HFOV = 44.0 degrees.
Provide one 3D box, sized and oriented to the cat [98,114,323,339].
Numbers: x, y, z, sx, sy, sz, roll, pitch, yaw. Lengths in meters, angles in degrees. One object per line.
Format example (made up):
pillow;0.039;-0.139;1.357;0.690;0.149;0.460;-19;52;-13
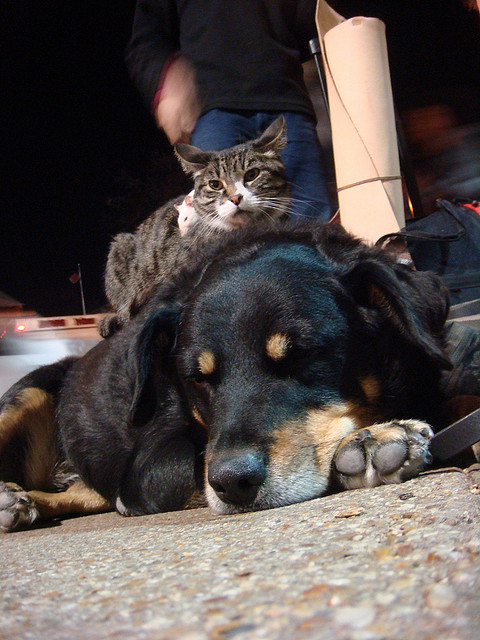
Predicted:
cat;-0.385;-0.536;3.944;1.923;1.051;0.875;-24;-6;40

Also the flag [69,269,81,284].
flag;-1.262;-0.329;4.528;0.092;0.117;0.060;-9;-6;-26
